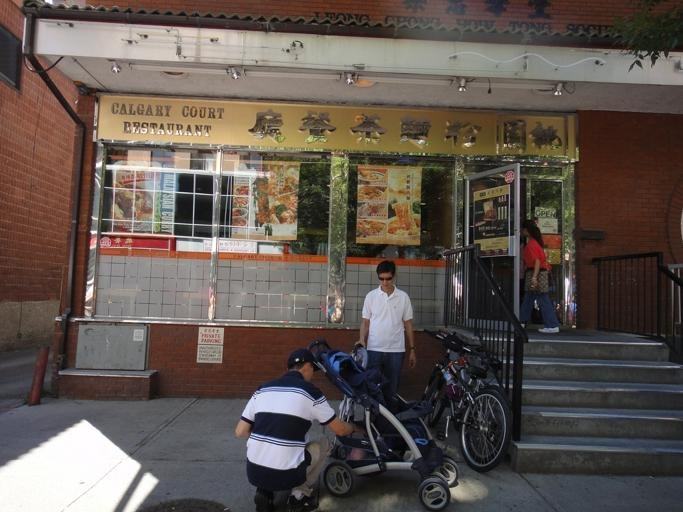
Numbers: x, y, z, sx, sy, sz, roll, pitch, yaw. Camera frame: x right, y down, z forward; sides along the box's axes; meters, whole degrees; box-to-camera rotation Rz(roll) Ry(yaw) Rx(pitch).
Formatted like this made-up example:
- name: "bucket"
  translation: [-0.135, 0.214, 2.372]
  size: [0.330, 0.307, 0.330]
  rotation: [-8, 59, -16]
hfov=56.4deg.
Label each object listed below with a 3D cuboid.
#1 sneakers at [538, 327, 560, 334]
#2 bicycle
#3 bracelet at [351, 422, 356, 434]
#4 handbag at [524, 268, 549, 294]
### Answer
- name: "sneakers"
  translation: [3.237, 1.145, 9.795]
  size: [0.315, 0.134, 0.119]
  rotation: [1, 3, 23]
- name: "bicycle"
  translation: [1.683, 1.875, 8.406]
  size: [0.823, 1.146, 1.855]
  rotation: [7, 2, -15]
- name: "bracelet"
  translation: [0.144, 1.926, 7.111]
  size: [0.028, 0.111, 0.079]
  rotation: [-4, -4, 16]
- name: "handbag"
  translation: [3.096, 0.389, 9.918]
  size: [0.328, 0.371, 0.332]
  rotation: [3, -6, -11]
